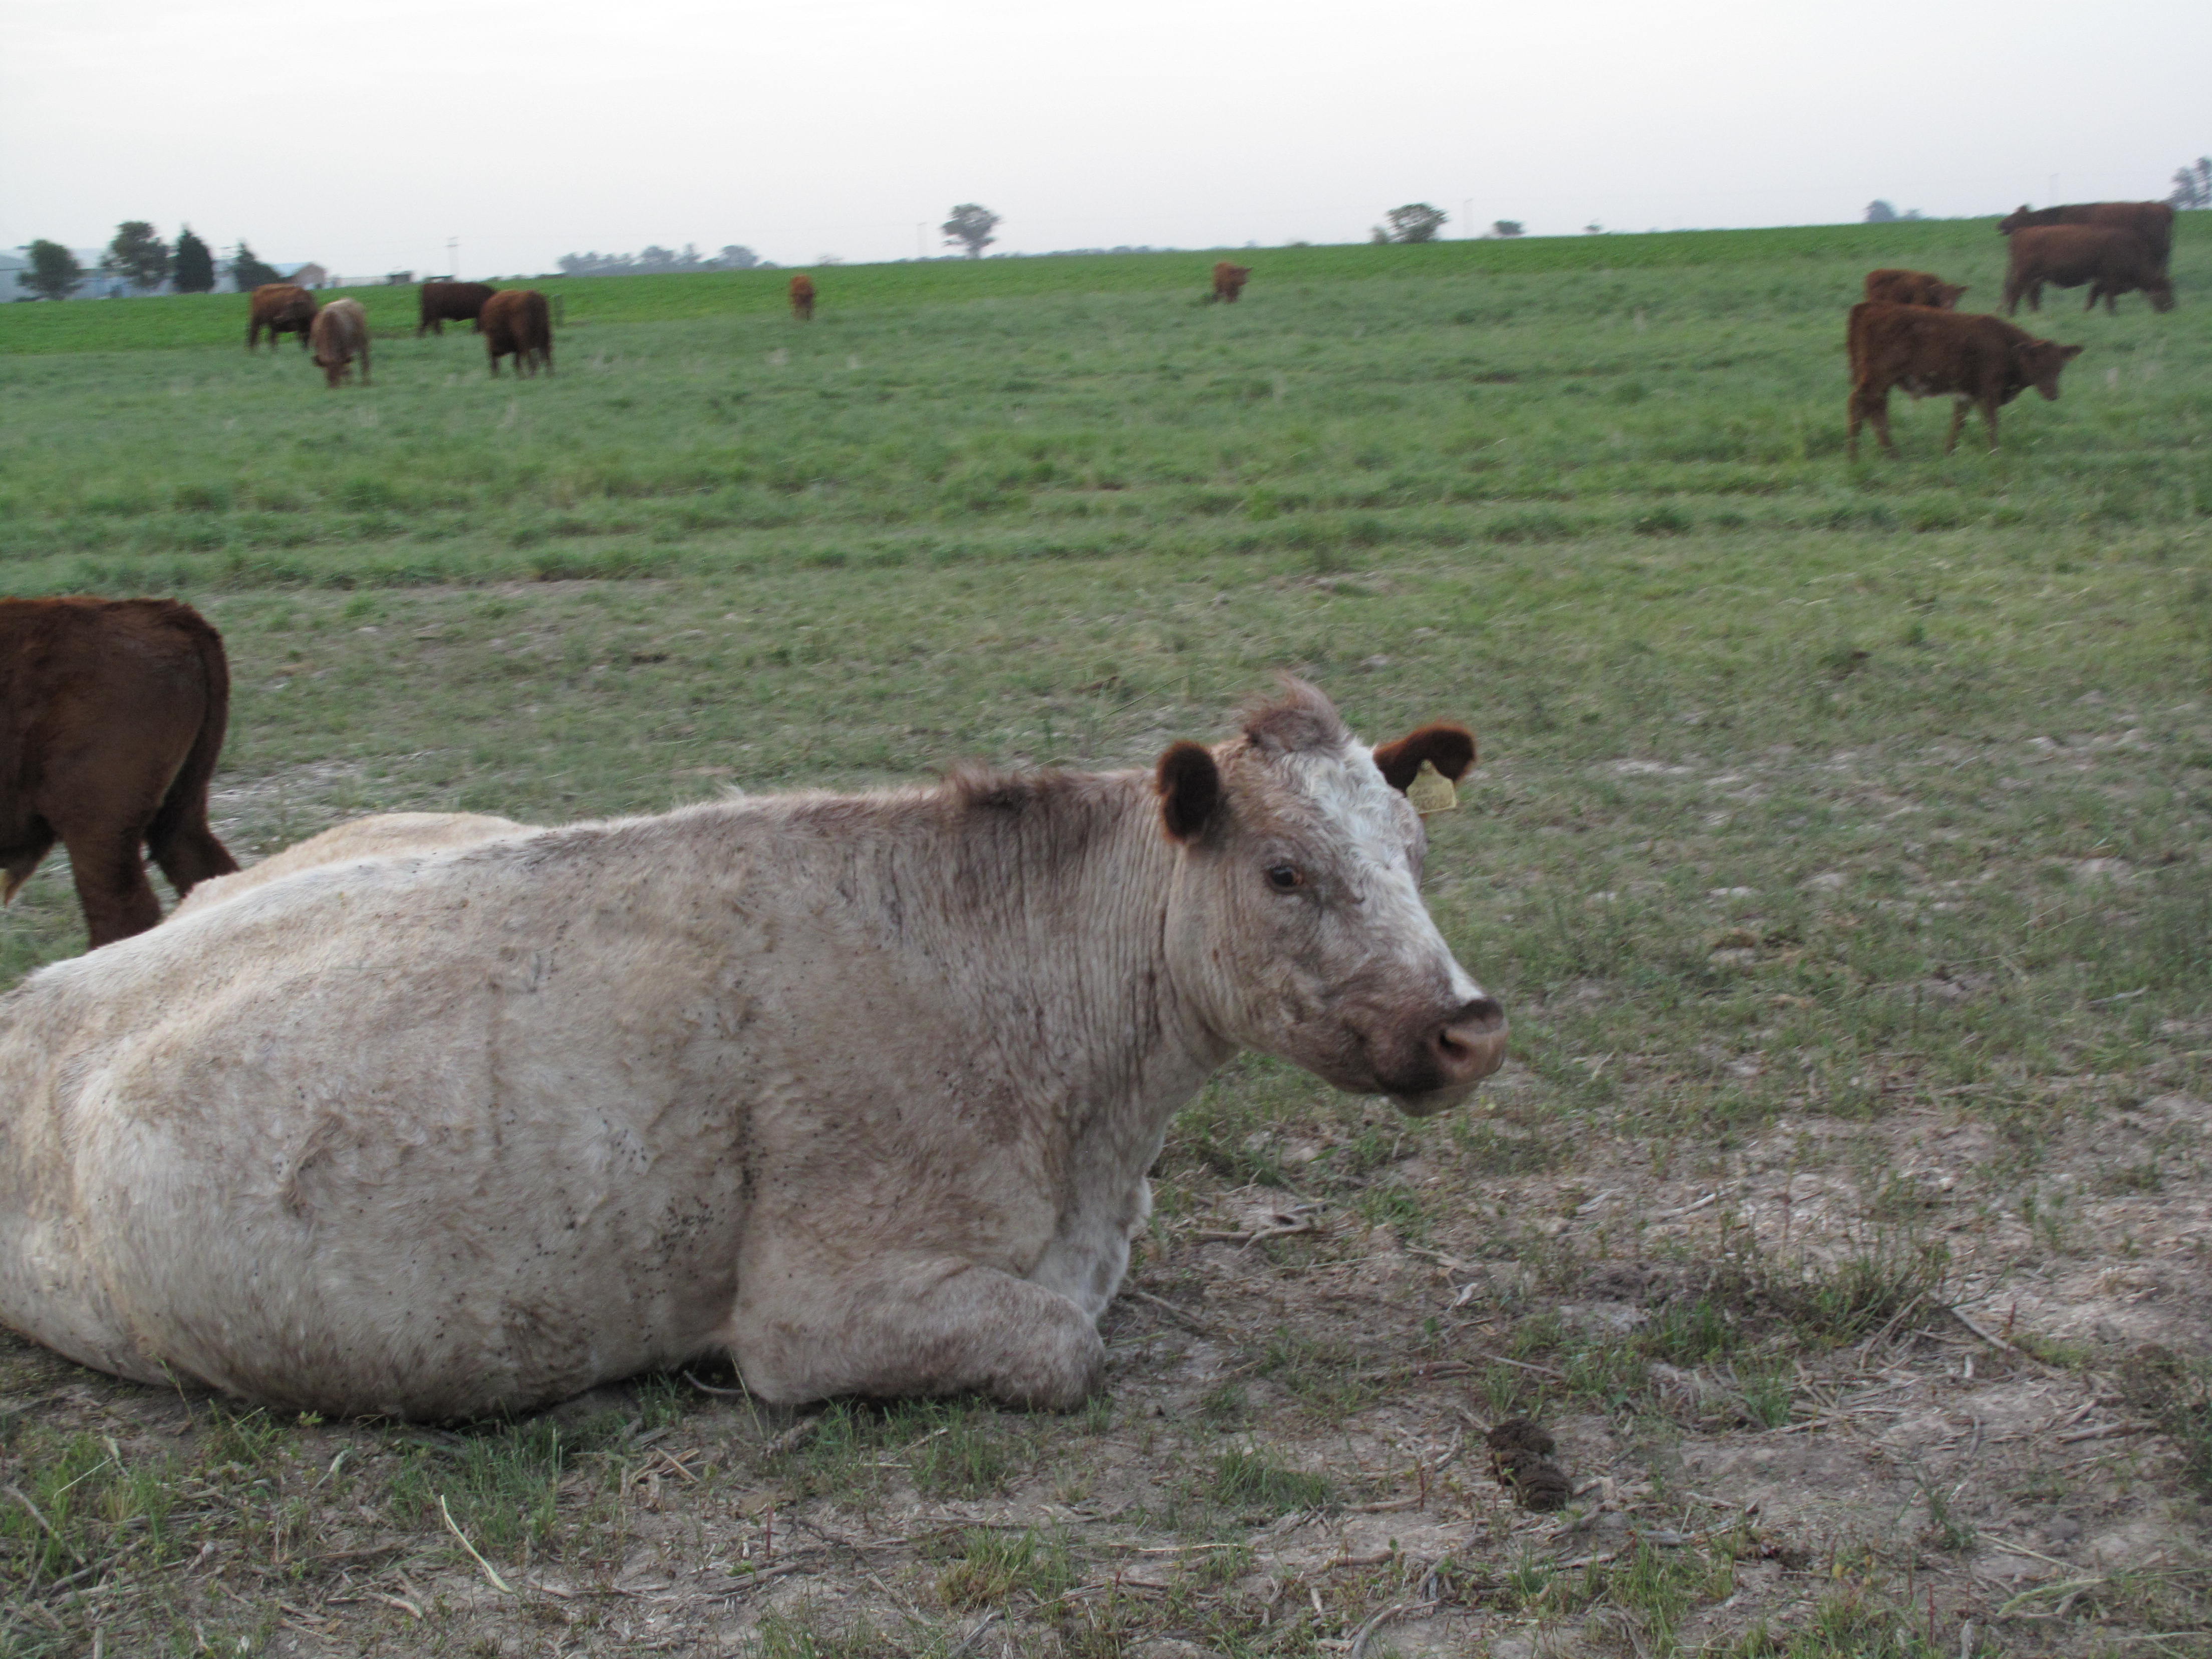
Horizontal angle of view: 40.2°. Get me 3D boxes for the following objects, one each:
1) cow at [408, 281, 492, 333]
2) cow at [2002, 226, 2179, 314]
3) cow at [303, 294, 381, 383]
[{"bbox_3d":[-10.321,-8.316,48.012,0.944,0.851,1.739,-8,13,-30],"label":"cow"},{"bbox_3d":[11.606,-6.705,35.987,1.215,0.992,3.094,-3,11,-8],"label":"cow"},{"bbox_3d":[-9.388,-6.027,37.336,0.617,0.937,1.880,-4,12,-16],"label":"cow"}]
